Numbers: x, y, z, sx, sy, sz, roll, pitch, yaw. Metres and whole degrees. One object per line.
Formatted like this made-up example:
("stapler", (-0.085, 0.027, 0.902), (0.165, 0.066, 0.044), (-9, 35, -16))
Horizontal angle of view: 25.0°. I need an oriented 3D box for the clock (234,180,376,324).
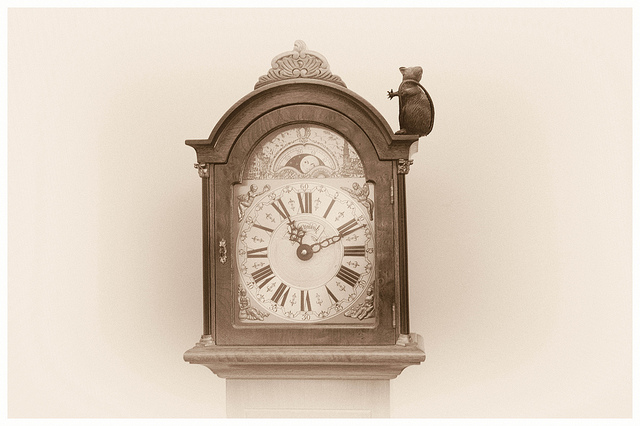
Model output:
("clock", (-0.082, 0.279, 9.321), (0.876, 0.082, 0.873), (3, -93, 3))
